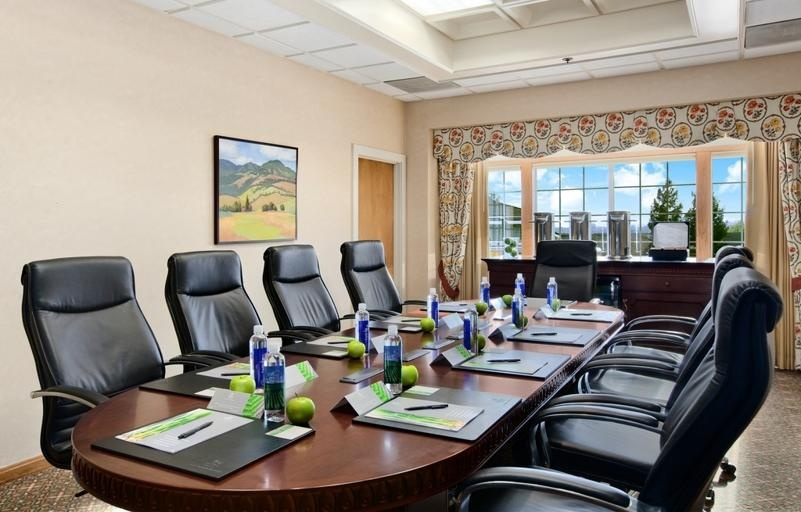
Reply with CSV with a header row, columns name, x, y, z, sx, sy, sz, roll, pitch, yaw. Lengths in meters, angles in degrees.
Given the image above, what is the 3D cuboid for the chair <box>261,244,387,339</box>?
name,x,y,z,sx,sy,sz,roll,pitch,yaw
chair,-0.706,0.271,4.504,0.822,0.958,0.669,-2,4,36

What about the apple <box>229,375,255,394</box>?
name,x,y,z,sx,sy,sz,roll,pitch,yaw
apple,-0.773,0.610,2.546,0.085,0.080,0.082,-3,8,-14

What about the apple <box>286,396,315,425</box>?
name,x,y,z,sx,sy,sz,roll,pitch,yaw
apple,-0.442,0.681,2.369,0.119,0.136,0.123,-5,-4,29

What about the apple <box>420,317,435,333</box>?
name,x,y,z,sx,sy,sz,roll,pitch,yaw
apple,0.192,0.488,3.719,0.100,0.098,0.099,-2,6,4

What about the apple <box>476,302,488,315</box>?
name,x,y,z,sx,sy,sz,roll,pitch,yaw
apple,0.645,0.413,4.162,0.103,0.099,0.102,-3,5,17

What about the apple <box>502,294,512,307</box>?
name,x,y,z,sx,sy,sz,roll,pitch,yaw
apple,0.954,0.388,4.620,0.093,0.084,0.092,-6,8,-23

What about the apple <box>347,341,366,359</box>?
name,x,y,z,sx,sy,sz,roll,pitch,yaw
apple,-0.263,0.556,3.127,0.103,0.100,0.101,-2,3,1

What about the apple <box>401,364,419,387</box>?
name,x,y,z,sx,sy,sz,roll,pitch,yaw
apple,0.036,0.623,2.766,0.096,0.105,0.095,1,-22,-13

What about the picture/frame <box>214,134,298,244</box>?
name,x,y,z,sx,sy,sz,roll,pitch,yaw
picture/frame,-1.504,-0.682,5.342,0.081,1.146,1.190,4,6,42
